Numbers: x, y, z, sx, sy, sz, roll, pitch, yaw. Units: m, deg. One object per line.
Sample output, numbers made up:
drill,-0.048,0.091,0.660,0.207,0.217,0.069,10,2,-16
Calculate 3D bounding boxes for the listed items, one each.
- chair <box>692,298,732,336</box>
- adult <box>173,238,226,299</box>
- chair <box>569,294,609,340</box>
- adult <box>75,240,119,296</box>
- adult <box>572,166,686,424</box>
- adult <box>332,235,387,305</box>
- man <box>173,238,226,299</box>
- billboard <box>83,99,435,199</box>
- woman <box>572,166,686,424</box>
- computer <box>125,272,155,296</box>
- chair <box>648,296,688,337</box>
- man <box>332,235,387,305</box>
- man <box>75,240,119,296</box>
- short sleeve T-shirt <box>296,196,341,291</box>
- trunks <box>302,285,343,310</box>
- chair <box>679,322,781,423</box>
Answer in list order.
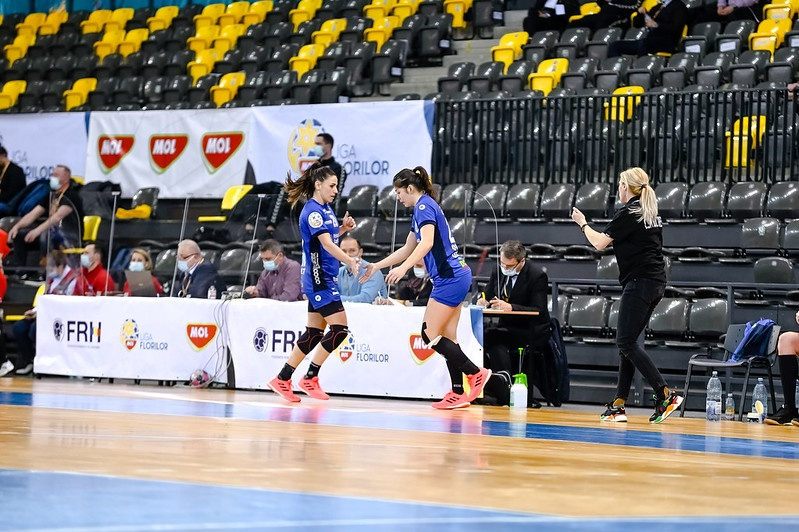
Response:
chair,3.478,0.574,12.089,0.420,0.370,0.404,1,-2,7
adult,-2.388,0.033,12.809,0.595,0.667,0.302,-1,2,-3
chair,2.185,0.614,12.738,0.599,0.538,0.437,1,-3,9
adult,-3.803,0.107,13.371,0.511,0.780,0.913,-3,11,-30
adult,2.279,0.291,10.257,0.724,2.445,0.409,0,2,8
adult,-0.556,0.159,12.418,0.617,0.901,0.675,-3,1,34
man,-2.388,0.033,12.809,0.595,0.667,0.302,-1,2,-3
billboard,-2.125,-1.655,15.519,5.339,1.430,0.070,1,-7,7
woman,2.269,0.291,10.255,0.750,2.445,0.436,0,2,11
computer,-3.118,0.211,12.920,0.392,0.243,0.274,1,2,14
chair,3.029,0.503,12.389,0.529,0.440,0.380,2,20,2
man,-0.548,0.146,12.426,0.659,0.953,0.666,-5,-2,30
man,-3.791,0.101,13.382,0.517,0.781,0.917,-5,13,-25
short sleeve T-shirt,-0.814,-0.199,10.988,0.444,1.082,0.927,-1,11,3
trunks,-0.774,0.326,10.861,0.408,0.268,0.256,-14,-11,18
chair,3.535,1.097,11.379,0.763,0.934,0.810,4,-4,-30
